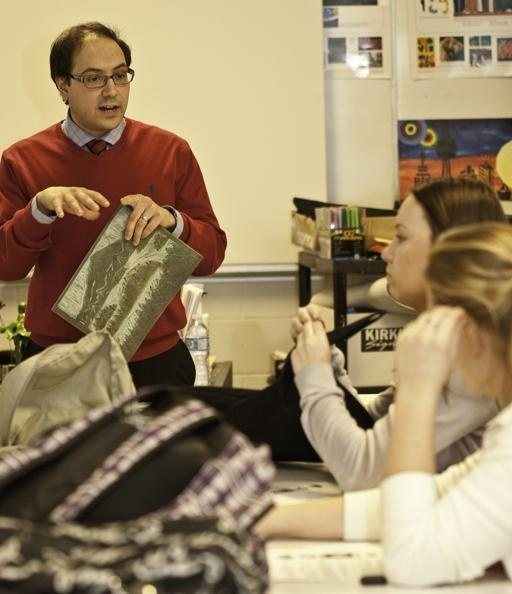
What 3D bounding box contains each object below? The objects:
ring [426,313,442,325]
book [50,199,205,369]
[{"bbox_3d":[0.213,0.026,0.674,0.004,0.011,0.014,19,5,-39],"label":"ring"},{"bbox_3d":[-0.350,-0.039,1.459,0.376,0.391,0.094,35,2,-23],"label":"book"}]
